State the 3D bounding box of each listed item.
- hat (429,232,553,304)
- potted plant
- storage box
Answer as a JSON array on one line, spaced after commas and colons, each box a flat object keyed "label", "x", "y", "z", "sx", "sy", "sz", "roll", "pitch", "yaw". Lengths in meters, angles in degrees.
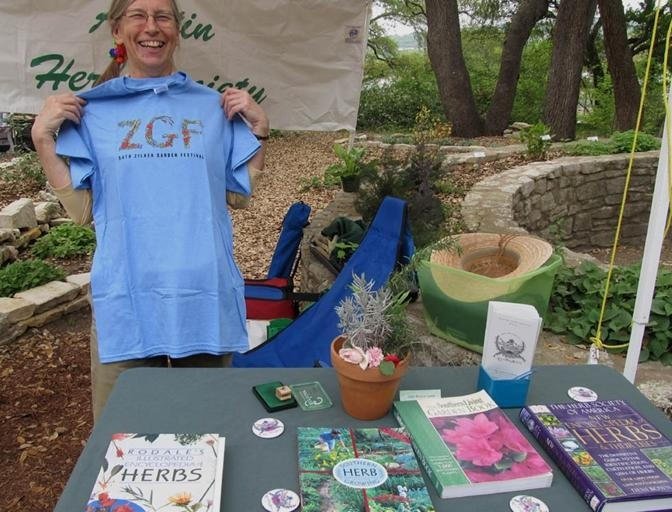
[{"label": "hat", "x": 0.964, "y": 0.024, "z": 3.111, "sx": 0.539, "sy": 0.172, "sz": 0.496, "roll": 10, "pitch": 43, "yaw": 42}, {"label": "potted plant", "x": 0.128, "y": 0.302, "z": 1.653, "sx": 0.277, "sy": 0.432, "sz": 0.240, "roll": -11, "pitch": 21, "yaw": -22}, {"label": "storage box", "x": 1.042, "y": 0.262, "z": 3.247, "sx": 0.738, "sy": 0.593, "sz": 0.901, "roll": 15, "pitch": 24, "yaw": 42}]
